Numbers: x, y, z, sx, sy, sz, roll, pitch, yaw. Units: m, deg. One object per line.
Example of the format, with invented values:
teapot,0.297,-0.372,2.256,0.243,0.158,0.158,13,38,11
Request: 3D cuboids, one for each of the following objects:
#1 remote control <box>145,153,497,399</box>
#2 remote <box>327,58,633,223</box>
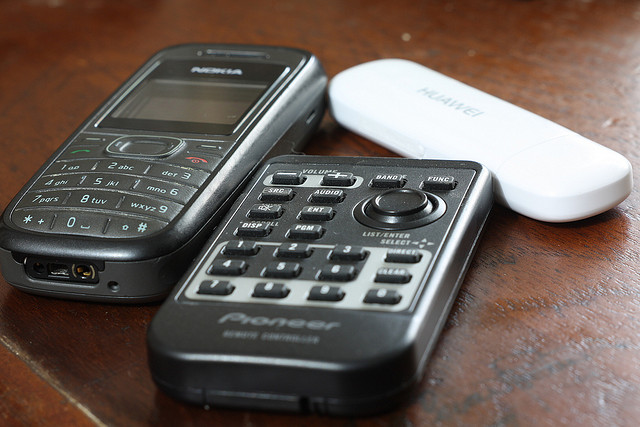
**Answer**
remote control,0.016,0.034,0.477,0.239,0.065,0.275,-2,34,19
remote,0.122,-0.093,0.578,0.123,0.044,0.332,-24,39,-33
